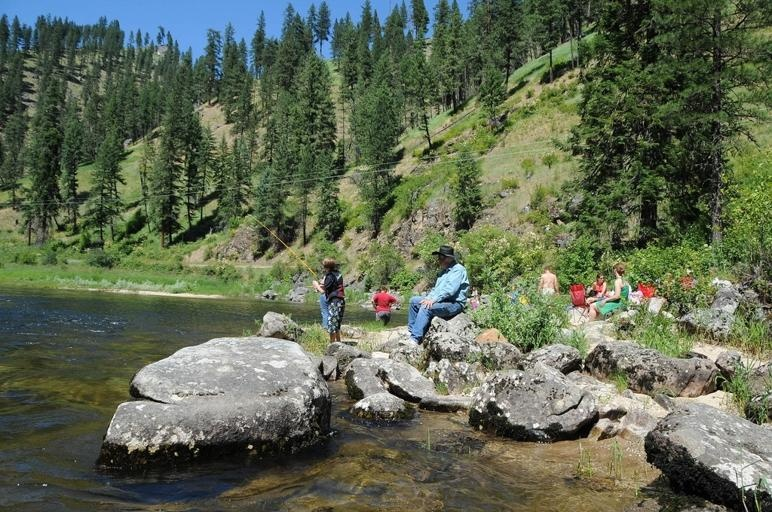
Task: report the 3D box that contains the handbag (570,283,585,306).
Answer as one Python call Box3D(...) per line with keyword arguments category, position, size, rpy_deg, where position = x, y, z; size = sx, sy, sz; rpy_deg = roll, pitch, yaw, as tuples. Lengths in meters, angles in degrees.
Box3D(category="handbag", position=(9.714, 2.014, 38.328), size=(0.685, 1.125, 0.709), rpy_deg=(1, 4, 14))
